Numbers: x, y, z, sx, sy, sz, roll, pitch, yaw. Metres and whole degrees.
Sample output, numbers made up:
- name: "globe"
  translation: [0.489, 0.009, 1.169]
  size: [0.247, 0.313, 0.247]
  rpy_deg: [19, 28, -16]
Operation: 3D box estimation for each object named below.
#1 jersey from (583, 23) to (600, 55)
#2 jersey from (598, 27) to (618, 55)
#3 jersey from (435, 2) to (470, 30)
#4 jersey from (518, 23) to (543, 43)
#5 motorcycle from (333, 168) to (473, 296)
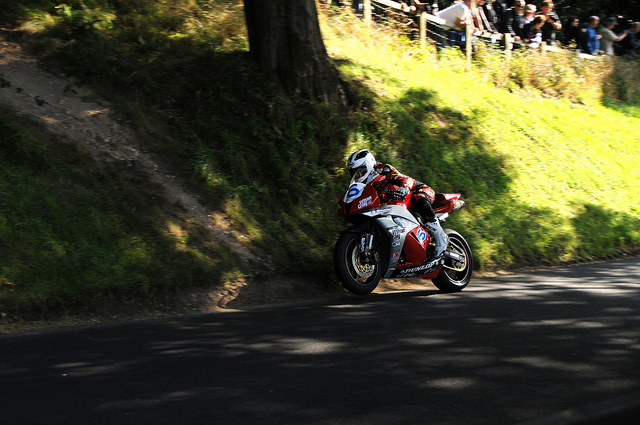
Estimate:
- name: "jersey"
  translation: [9.985, -6.356, 21.989]
  size: [0.524, 1.210, 1.272]
  rpy_deg: [4, 13, 21]
- name: "jersey"
  translation: [10.975, -6.540, 22.850]
  size: [0.663, 1.090, 0.919]
  rpy_deg: [4, 14, 20]
- name: "jersey"
  translation: [4.194, -6.266, 18.836]
  size: [1.011, 0.705, 0.681]
  rpy_deg: [1, 12, 12]
- name: "jersey"
  translation: [7.159, -6.099, 20.313]
  size: [0.511, 0.714, 0.778]
  rpy_deg: [9, 16, 38]
- name: "motorcycle"
  translation: [1.190, 0.310, 9.596]
  size: [2.640, 2.025, 1.047]
  rpy_deg: [-6, 15, -21]
